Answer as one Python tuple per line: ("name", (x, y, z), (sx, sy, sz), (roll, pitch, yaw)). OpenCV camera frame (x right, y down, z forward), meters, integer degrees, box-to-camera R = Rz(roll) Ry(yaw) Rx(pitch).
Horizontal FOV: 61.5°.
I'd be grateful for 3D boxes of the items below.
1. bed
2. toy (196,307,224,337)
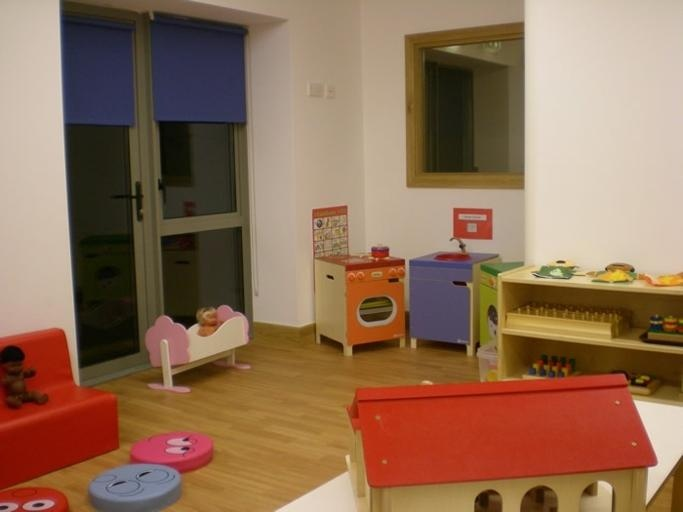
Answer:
("bed", (-1.096, 0.663, 4.355), (0.461, 0.495, 0.771), (2, 3, 34))
("toy", (-0.993, 0.499, 4.347), (0.095, 0.172, 0.165), (-8, 4, 33))
